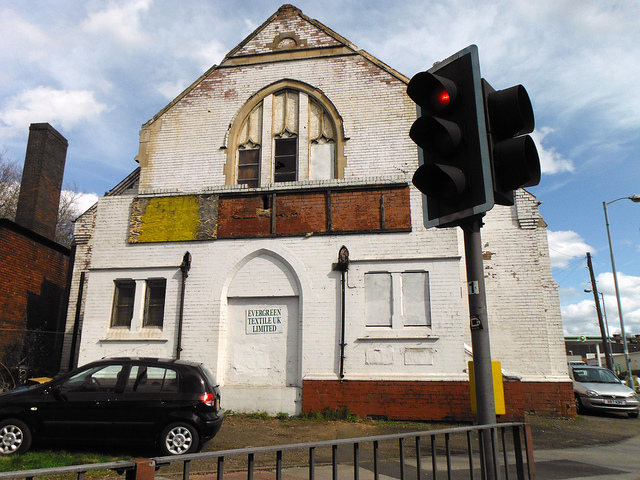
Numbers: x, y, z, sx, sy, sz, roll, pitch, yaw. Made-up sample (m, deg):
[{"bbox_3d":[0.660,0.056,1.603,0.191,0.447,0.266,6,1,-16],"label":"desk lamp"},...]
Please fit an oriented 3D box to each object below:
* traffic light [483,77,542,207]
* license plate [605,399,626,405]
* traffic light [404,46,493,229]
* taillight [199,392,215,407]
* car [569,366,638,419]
[{"bbox_3d":[2.474,-1.297,6.876,0.591,1.567,0.586,-7,-17,20],"label":"traffic light"},{"bbox_3d":[10.108,5.555,18.236,0.704,0.174,0.069,0,-16,-4],"label":"license plate"},{"bbox_3d":[1.702,-1.364,6.997,1.013,2.242,0.681,-6,-17,19],"label":"traffic light"},{"bbox_3d":[-2.420,3.407,11.333,0.320,0.296,0.096,11,-20,-34],"label":"taillight"},{"bbox_3d":[10.124,5.428,19.089,1.954,1.827,1.838,-8,-18,23],"label":"car"}]
